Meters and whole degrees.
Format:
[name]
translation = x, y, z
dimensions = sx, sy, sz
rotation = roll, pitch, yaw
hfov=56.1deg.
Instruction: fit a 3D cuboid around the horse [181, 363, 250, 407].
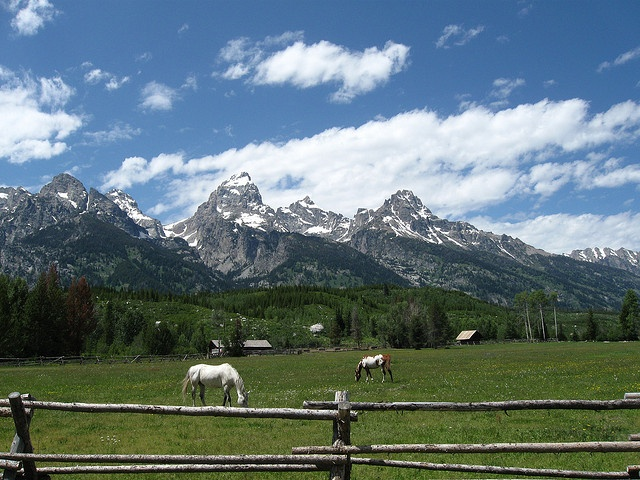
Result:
[horse]
translation = -7.796, 10.632, 44.078
dimensions = 4.329, 3.258, 6.904
rotation = 4, 0, -14
